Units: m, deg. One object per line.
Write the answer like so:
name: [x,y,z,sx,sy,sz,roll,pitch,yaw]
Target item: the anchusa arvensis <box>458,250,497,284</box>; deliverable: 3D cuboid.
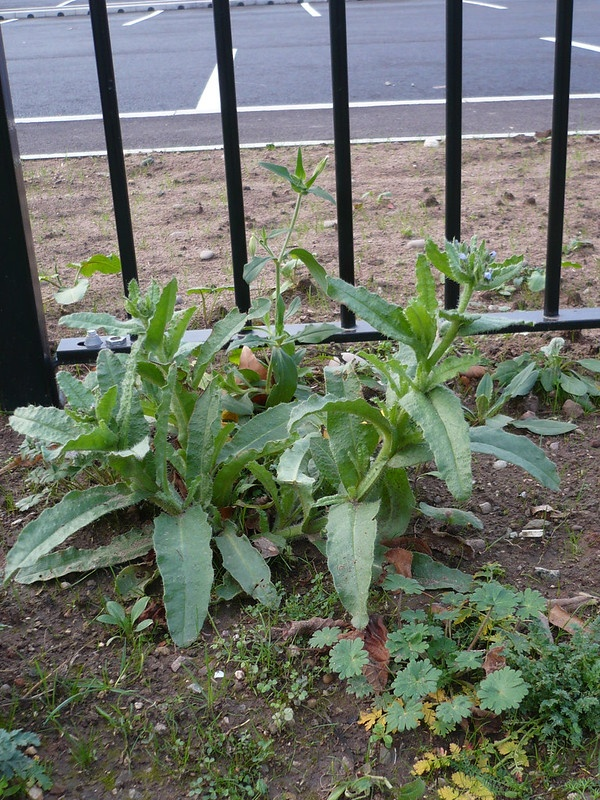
anchusa arvensis: [0.353,-0.272,1.335,0.074,0.086,0.089,2,26,16]
